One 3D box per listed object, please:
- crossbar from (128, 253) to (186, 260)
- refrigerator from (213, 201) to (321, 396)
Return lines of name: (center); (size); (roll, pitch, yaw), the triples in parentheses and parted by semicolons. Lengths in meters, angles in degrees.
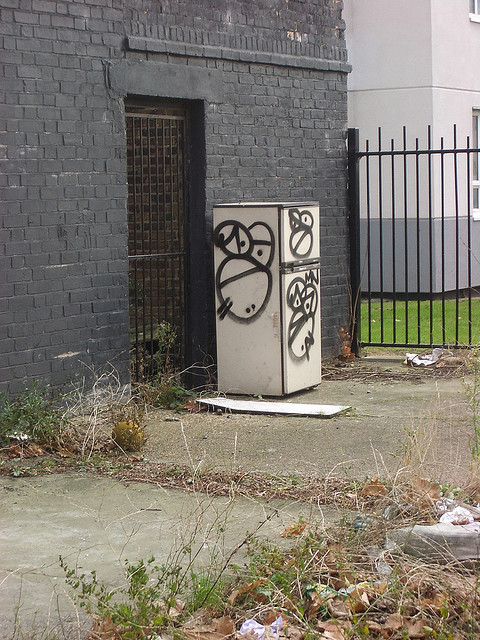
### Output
crossbar: (-0.782, -0.555, 7.149); (0.176, 0.038, 0.744); (-1, 3, 38)
refrigerator: (0.248, -0.223, 7.375); (0.817, 1.647, 0.865); (0, 7, 13)
